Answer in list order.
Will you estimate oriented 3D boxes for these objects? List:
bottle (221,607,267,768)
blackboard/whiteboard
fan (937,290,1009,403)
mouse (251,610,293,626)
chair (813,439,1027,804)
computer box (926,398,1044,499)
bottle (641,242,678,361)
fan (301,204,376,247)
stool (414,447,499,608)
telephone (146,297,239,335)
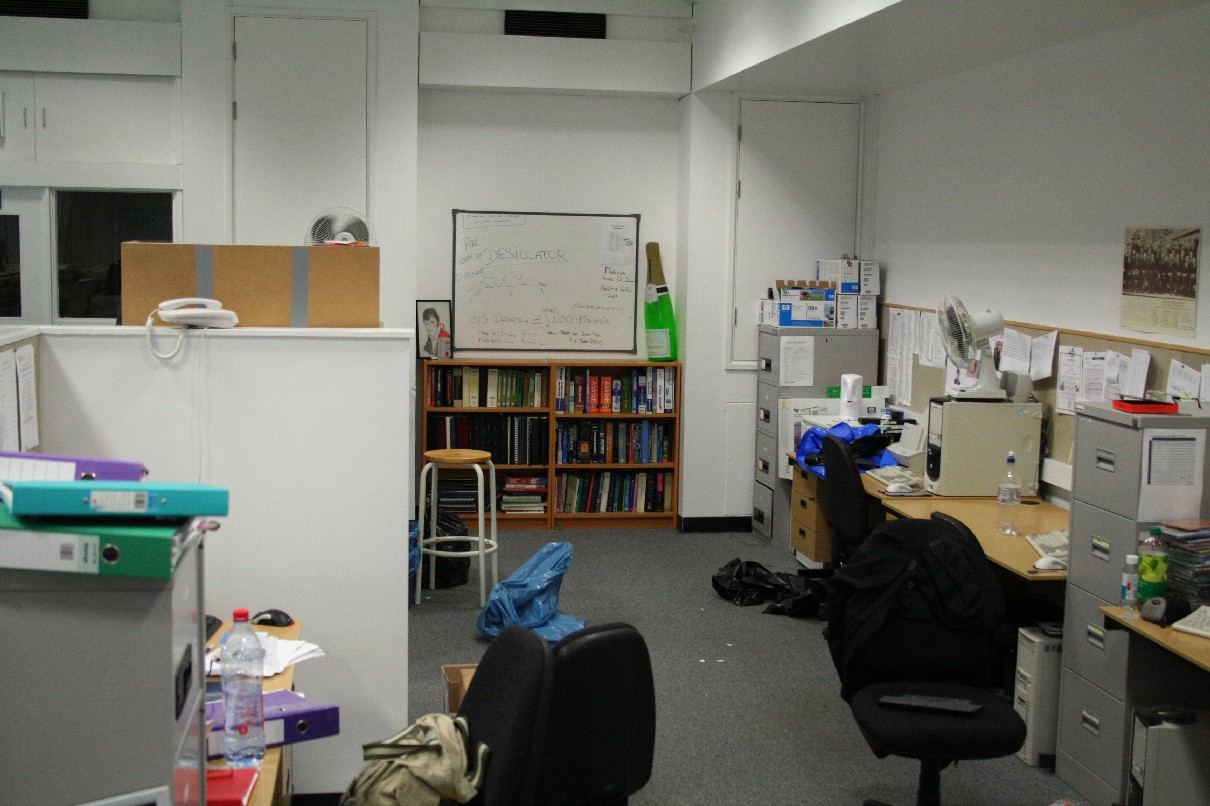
[{"bbox_3d":[-1.161,0.889,3.051,0.123,0.455,0.255,-3,6,-21],"label":"bottle"},{"bbox_3d":[-0.449,-0.942,7.462,1.515,1.093,0.019,-2,12,-19],"label":"blackboard/whiteboard"},{"bbox_3d":[2.101,-0.325,5.479,0.345,0.568,0.234,0,5,13],"label":"fan"},{"bbox_3d":[-1.319,0.852,3.783,0.100,0.032,0.078,4,-3,1],"label":"mouse"},{"bbox_3d":[1.354,1.120,4.040,0.792,1.198,0.984,0,5,10],"label":"chair"},{"bbox_3d":[2.163,0.242,5.675,0.754,0.532,0.770,5,5,37],"label":"computer box"},{"bbox_3d":[0.436,-0.809,7.525,0.242,0.922,0.238,-1,5,0],"label":"bottle"},{"bbox_3d":[-1.451,-0.988,5.216,0.317,0.272,0.976,-3,5,-17],"label":"fan"},{"bbox_3d":[-1.003,0.796,6.326,0.638,0.898,0.667,0,1,39],"label":"stool"},{"bbox_3d":[-1.625,-0.344,3.759,0.220,0.080,0.178,-5,5,-12],"label":"telephone"}]
